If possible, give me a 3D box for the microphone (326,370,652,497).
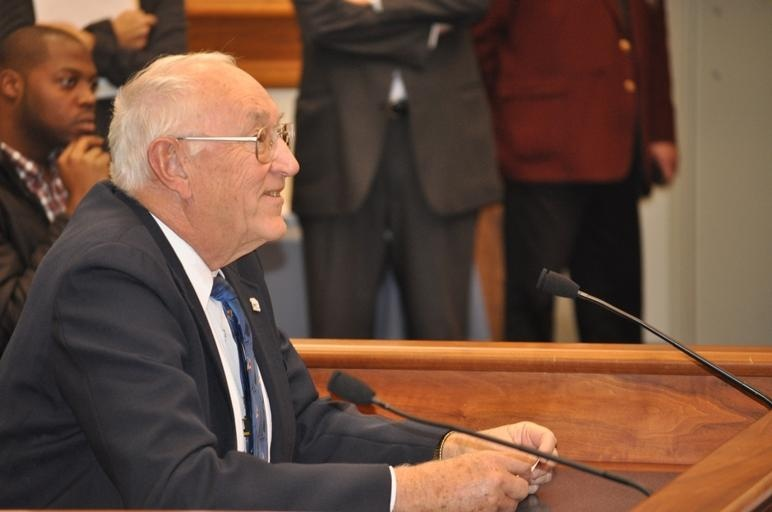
[{"bbox_3d":[0.361,0.553,2.640,0.976,0.088,0.122,15,-27,11],"label":"microphone"}]

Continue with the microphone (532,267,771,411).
[{"bbox_3d":[1.023,0.313,3.161,0.871,0.089,0.093,28,63,16],"label":"microphone"}]
